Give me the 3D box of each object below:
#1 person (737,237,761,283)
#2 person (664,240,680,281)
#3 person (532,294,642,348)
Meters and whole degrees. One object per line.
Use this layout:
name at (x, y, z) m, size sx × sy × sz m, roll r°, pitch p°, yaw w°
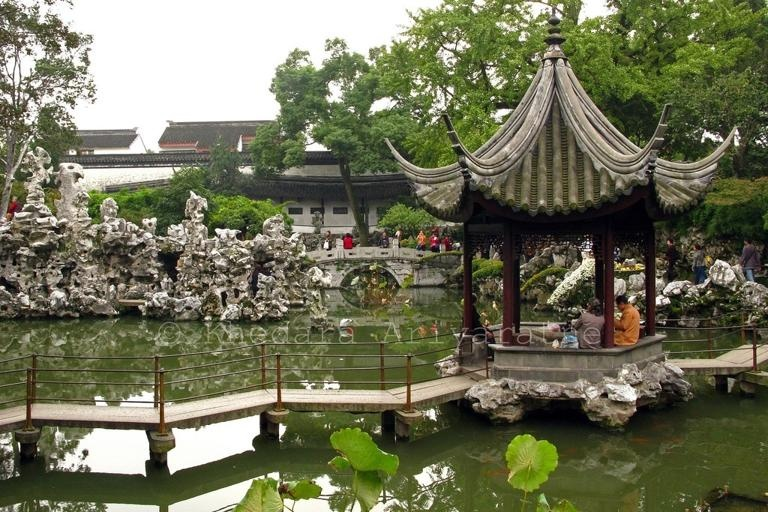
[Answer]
person at (11.615, 0.154, 28.358) m, size 0.552 × 1.209 × 1.098 m, roll -2°, pitch -1°, yaw 21°
person at (10.391, 0.147, 32.216) m, size 0.344 × 1.289 × 2.602 m, roll -2°, pitch -1°, yaw 18°
person at (5.270, 1.601, 22.010) m, size 1.995 × 1.055 × 1.028 m, roll -2°, pitch -1°, yaw 12°
